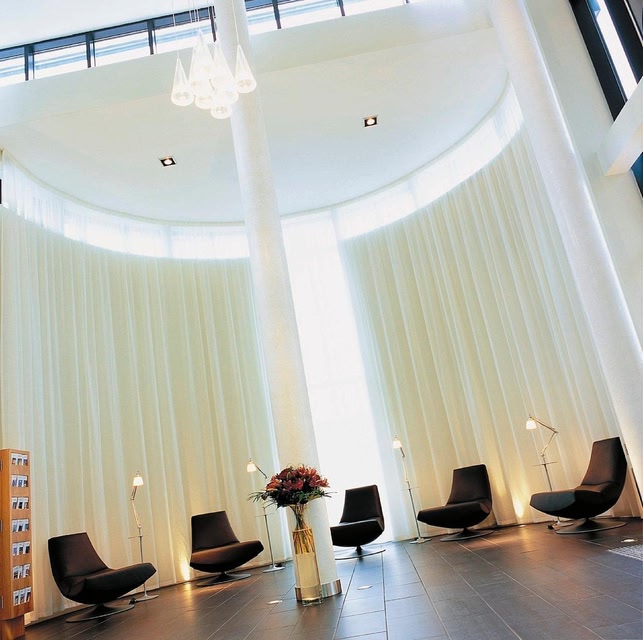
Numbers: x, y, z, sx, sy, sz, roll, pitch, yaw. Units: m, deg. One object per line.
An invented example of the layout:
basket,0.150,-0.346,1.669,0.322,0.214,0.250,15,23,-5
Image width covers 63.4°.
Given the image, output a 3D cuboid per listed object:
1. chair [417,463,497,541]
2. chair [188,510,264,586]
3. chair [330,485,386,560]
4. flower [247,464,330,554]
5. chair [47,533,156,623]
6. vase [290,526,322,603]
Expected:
chair,2.018,2.563,7.505,0.939,1.078,0.908,18,-33,-38
chair,-1.431,3.139,7.320,0.895,0.876,1.071,-2,-19,-29
chair,0.540,2.969,7.651,0.723,0.958,0.767,-6,-8,9
flower,-0.286,1.690,4.846,0.728,0.568,0.676,4,-19,-43
chair,-2.638,2.964,6.119,1.030,0.975,0.862,-16,-12,27
vase,-0.149,2.189,4.715,0.247,0.595,0.207,-12,-16,2
